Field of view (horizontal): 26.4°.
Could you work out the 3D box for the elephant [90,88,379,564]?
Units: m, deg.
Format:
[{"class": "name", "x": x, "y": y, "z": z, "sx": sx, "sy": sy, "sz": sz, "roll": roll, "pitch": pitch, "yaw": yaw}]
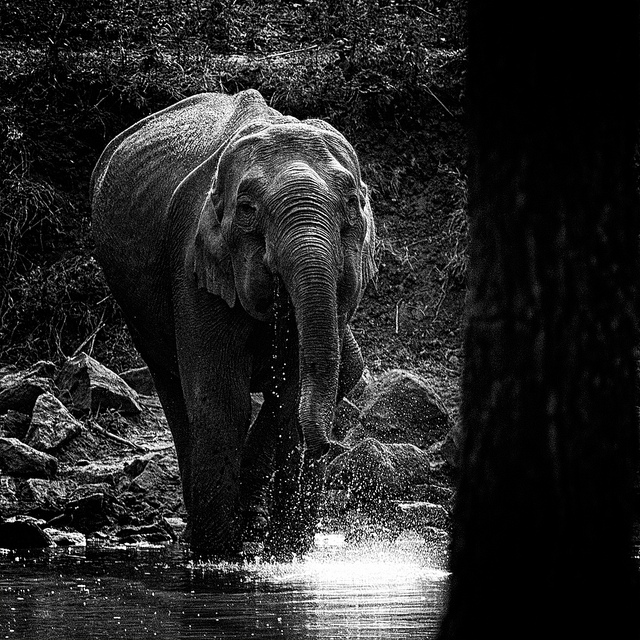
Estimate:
[{"class": "elephant", "x": -0.333, "y": 0.040, "z": 5.486, "sx": 0.789, "sy": 1.782, "sz": 2.015, "roll": -1, "pitch": -5, "yaw": -22}]
